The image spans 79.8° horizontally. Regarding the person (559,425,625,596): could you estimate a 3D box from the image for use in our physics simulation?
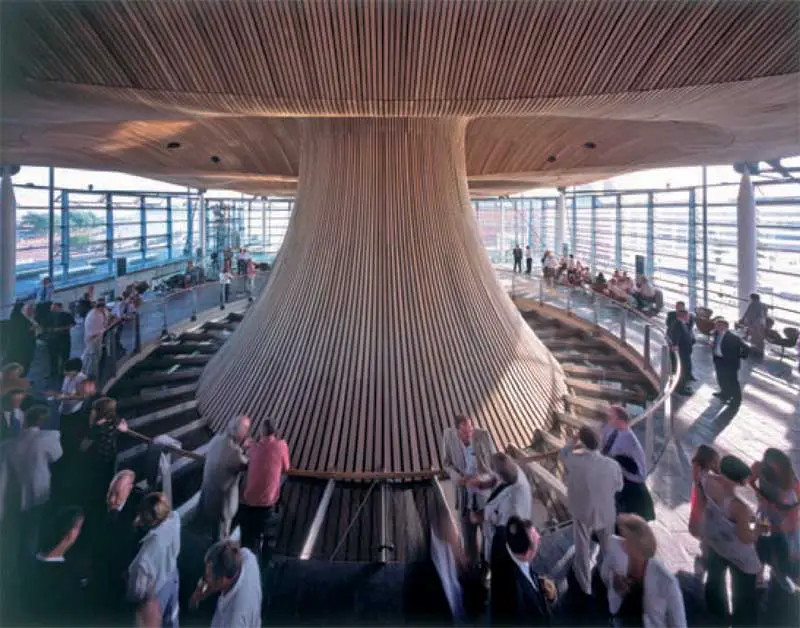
[{"bbox_3d":[1.576,1.622,4.003,0.445,1.373,0.367,-2,12,12],"label":"person"}]

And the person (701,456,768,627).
[{"bbox_3d":[2.534,1.708,3.662,0.401,1.336,0.482,-1,-2,30],"label":"person"}]

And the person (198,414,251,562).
[{"bbox_3d":[-1.619,1.513,4.390,0.430,1.096,0.283,0,-1,-14],"label":"person"}]

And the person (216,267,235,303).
[{"bbox_3d":[-4.743,-0.632,13.035,0.316,0.955,0.655,0,-1,-5],"label":"person"}]

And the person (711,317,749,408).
[{"bbox_3d":[5.350,0.812,7.846,0.376,1.427,0.400,-1,-2,34],"label":"person"}]

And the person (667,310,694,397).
[{"bbox_3d":[5.022,0.623,8.602,0.403,1.599,0.802,-1,-2,30],"label":"person"}]

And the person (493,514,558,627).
[{"bbox_3d":[0.815,1.784,3.251,0.395,0.892,0.365,0,-1,11],"label":"person"}]

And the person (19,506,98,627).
[{"bbox_3d":[-2.484,1.881,3.540,0.486,0.990,0.271,-1,-2,26],"label":"person"}]

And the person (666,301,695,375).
[{"bbox_3d":[5.111,0.541,8.646,0.427,1.421,0.387,-11,21,22],"label":"person"}]
